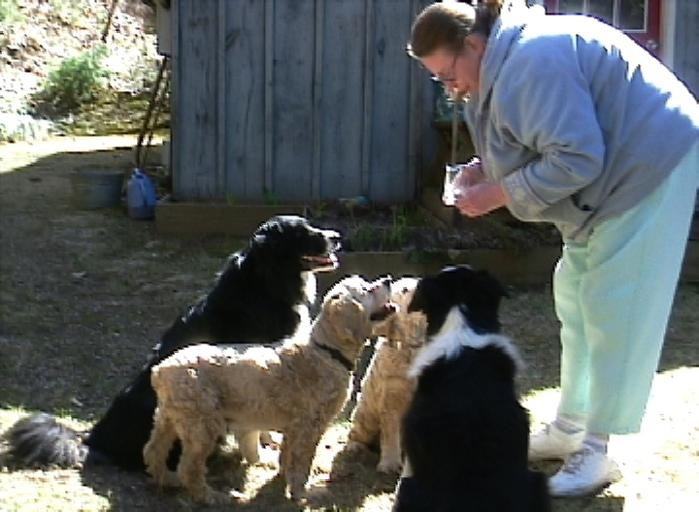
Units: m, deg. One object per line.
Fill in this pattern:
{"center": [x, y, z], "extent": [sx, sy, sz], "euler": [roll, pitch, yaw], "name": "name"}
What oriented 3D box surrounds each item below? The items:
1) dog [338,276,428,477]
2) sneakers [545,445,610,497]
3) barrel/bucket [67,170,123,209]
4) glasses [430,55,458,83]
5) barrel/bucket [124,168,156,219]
{"center": [0.228, 0.833, 5.475], "extent": [0.515, 1.229, 1.373], "euler": [1, -5, -5], "name": "dog"}
{"center": [1.454, 1.311, 4.613], "extent": [0.551, 0.245, 0.207], "euler": [-10, 0, -33], "name": "sneakers"}
{"center": [-3.296, -0.855, 9.810], "extent": [0.652, 0.467, 0.310], "euler": [-2, 10, -26], "name": "barrel/bucket"}
{"center": [0.540, -1.056, 4.222], "extent": [0.168, 0.189, 0.053], "euler": [5, 7, 43], "name": "glasses"}
{"center": [-2.616, -0.766, 9.441], "extent": [0.356, 0.604, 0.384], "euler": [2, 9, 0], "name": "barrel/bucket"}
